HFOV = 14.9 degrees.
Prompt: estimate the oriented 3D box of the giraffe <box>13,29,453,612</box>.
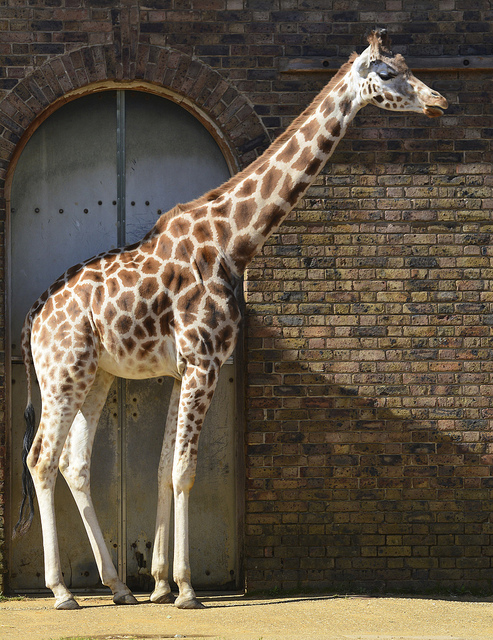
[{"bbox_3d":[-0.320,0.120,10.776,2.235,3.052,0.975,-3,-9,5],"label":"giraffe"}]
